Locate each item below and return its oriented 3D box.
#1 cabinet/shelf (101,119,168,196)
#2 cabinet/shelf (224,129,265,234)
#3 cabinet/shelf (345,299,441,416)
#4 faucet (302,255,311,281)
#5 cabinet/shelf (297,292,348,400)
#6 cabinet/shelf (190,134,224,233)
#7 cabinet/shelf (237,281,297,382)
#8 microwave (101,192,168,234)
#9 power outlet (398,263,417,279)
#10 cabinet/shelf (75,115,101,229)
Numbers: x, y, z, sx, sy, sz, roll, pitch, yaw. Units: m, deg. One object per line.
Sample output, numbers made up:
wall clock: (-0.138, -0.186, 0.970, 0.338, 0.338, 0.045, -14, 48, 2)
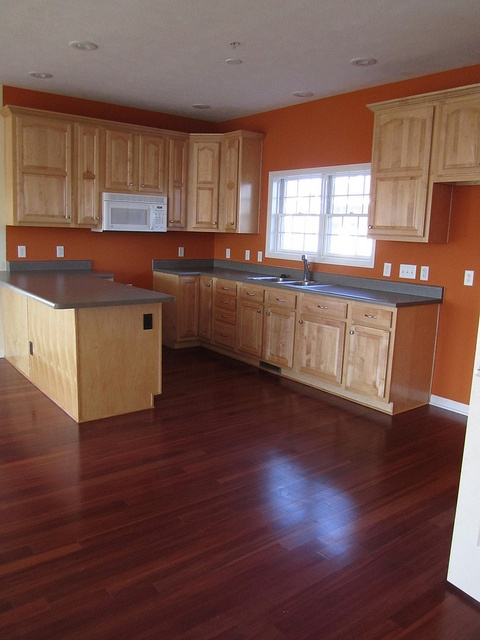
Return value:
cabinet/shelf: (-1.033, -1.650, 5.140, 0.747, 0.631, 0.297, 10, 20, 14)
cabinet/shelf: (-0.003, -1.466, 5.293, 0.479, 1.038, 0.270, 2, 11, 1)
cabinet/shelf: (1.154, 0.269, 3.700, 0.488, 0.664, 0.480, 12, 27, 28)
faucet: (0.644, -0.499, 4.764, 0.092, 0.256, 0.320, 3, 11, 7)
cabinet/shelf: (0.791, 0.123, 4.152, 0.560, 0.664, 0.510, 9, 17, 28)
cabinet/shelf: (-0.374, -1.512, 5.481, 0.385, 1.046, 0.129, 2, 7, 11)
cabinet/shelf: (0.267, 0.103, 4.535, 0.448, 0.788, 0.857, -2, 9, -33)
microwave: (-1.088, -1.116, 5.105, 0.206, 0.379, 0.768, 10, 13, 35)
power outlet: (1.349, -0.390, 3.931, 0.017, 0.103, 0.123, -13, 20, -39)
cabinet/shelf: (-1.497, -1.403, 4.734, 0.093, 0.901, 0.250, 16, 19, 32)
